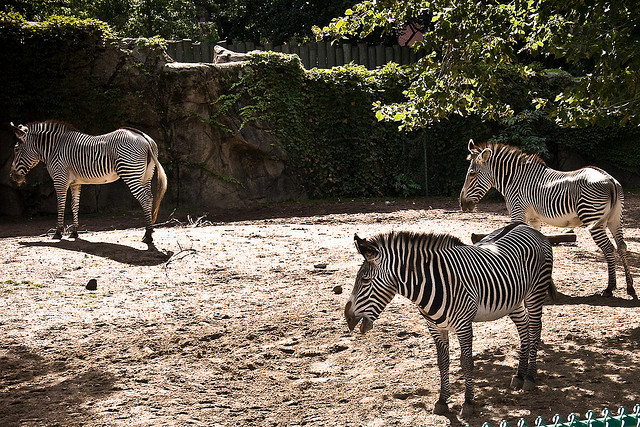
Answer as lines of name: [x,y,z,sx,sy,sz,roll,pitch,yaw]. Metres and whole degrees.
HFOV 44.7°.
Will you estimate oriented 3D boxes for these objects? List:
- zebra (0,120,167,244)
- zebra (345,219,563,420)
zebra: [-4.743,-0.679,16.054,3.070,2.453,0.890,2,6,22]
zebra: [1.891,1.414,10.504,2.921,2.533,0.802,-2,6,-17]
